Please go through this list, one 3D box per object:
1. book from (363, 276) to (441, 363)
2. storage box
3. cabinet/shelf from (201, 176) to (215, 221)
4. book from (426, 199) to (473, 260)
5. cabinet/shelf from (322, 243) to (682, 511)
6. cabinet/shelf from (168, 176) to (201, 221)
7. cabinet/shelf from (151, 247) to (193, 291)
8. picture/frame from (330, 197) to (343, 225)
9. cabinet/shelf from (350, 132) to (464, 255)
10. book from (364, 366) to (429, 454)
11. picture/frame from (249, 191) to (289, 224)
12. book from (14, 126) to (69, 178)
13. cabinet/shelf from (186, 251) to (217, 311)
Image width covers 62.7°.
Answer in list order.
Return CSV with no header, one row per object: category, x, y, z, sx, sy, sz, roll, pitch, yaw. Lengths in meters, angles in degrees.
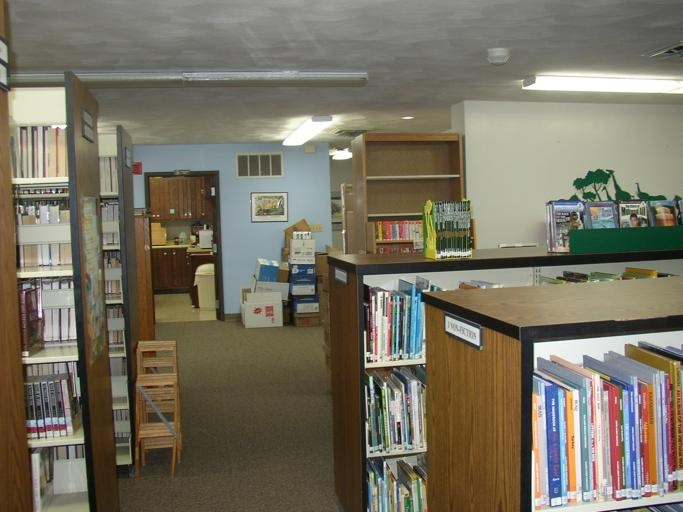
book,0.329,0.393,3.617,0.430,0.593,0.555,-1,1,-11
storage box,-1.020,0.289,9.754,1.458,1.698,1.171,-3,8,-10
cabinet/shelf,-2.928,-1.270,12.232,0.362,1.096,1.109,-1,2,-15
book,0.669,-0.167,3.553,0.305,0.349,0.336,0,8,9
cabinet/shelf,0.726,0.562,2.609,1.649,1.063,0.571,-3,12,-11
cabinet/shelf,-3.637,-1.338,12.851,0.597,1.240,0.864,-4,5,-42
cabinet/shelf,-3.888,0.255,12.723,0.991,0.959,0.562,-1,1,-15
picture/frame,-0.141,-1.219,15.127,0.234,0.732,0.561,-2,8,-7
cabinet/shelf,0.719,-0.739,6.313,1.539,1.886,0.602,-1,1,-10
book,0.256,0.944,3.567,0.434,0.552,0.418,0,-2,-11
picture/frame,-1.368,-0.870,10.190,0.595,0.480,0.027,0,-3,-13
book,-1.809,-0.592,3.455,0.301,0.407,0.411,-1,5,-19
cabinet/shelf,-2.999,0.492,11.945,0.576,0.956,2.421,-3,8,-15
